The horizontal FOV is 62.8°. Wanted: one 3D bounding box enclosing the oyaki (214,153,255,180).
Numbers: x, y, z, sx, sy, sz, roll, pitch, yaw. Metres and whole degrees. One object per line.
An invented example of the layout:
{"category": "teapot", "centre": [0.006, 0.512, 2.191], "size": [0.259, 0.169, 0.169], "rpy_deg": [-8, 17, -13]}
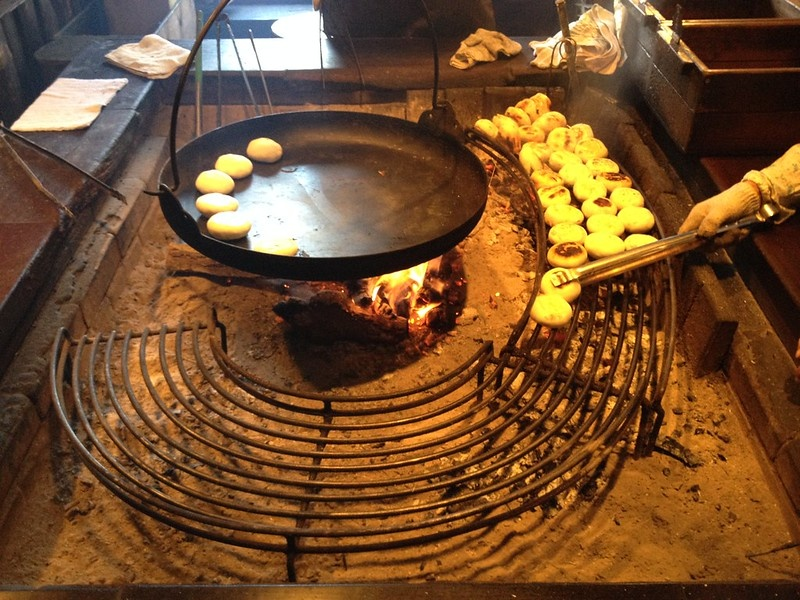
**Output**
{"category": "oyaki", "centre": [-0.968, -0.799, 3.886], "size": [0.167, 0.082, 0.164], "rpy_deg": [12, 43, -7]}

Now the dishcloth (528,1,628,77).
{"category": "dishcloth", "centre": [1.431, -2.064, 5.306], "size": [0.662, 0.222, 0.665], "rpy_deg": [-8, 53, 4]}

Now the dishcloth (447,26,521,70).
{"category": "dishcloth", "centre": [0.687, -2.091, 5.483], "size": [0.397, 0.135, 0.495], "rpy_deg": [29, 50, 28]}

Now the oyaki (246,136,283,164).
{"category": "oyaki", "centre": [-0.830, -0.905, 4.037], "size": [0.171, 0.088, 0.169], "rpy_deg": [3, 48, -13]}

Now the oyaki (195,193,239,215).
{"category": "oyaki", "centre": [-0.994, -0.525, 3.581], "size": [0.153, 0.074, 0.152], "rpy_deg": [13, 31, 14]}

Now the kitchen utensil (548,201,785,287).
{"category": "kitchen utensil", "centre": [1.625, -0.317, 3.907], "size": [0.943, 0.136, 0.137], "rpy_deg": [-25, 31, -2]}
